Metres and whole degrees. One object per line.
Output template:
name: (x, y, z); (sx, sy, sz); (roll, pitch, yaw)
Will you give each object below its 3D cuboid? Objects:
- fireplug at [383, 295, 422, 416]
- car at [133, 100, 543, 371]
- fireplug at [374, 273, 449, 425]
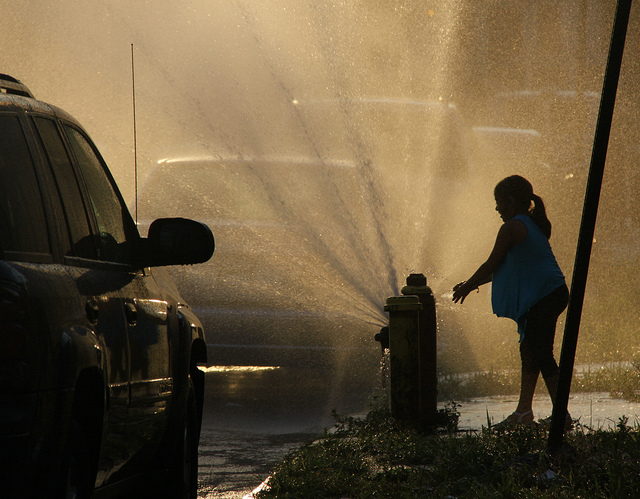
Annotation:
fireplug: (0.713, 0.897, 7.296); (0.390, 1.016, 0.216); (5, -4, 3)
car: (0.218, 0.118, 17.041); (3.656, 2.823, 7.113); (0, 5, 26)
fireplug: (0.800, 0.972, 7.665); (0.578, 1.462, 0.330); (-5, -45, 10)
